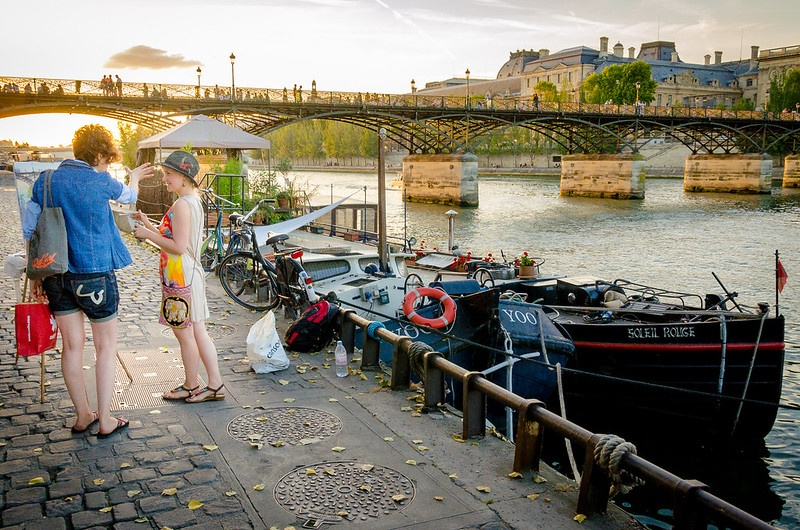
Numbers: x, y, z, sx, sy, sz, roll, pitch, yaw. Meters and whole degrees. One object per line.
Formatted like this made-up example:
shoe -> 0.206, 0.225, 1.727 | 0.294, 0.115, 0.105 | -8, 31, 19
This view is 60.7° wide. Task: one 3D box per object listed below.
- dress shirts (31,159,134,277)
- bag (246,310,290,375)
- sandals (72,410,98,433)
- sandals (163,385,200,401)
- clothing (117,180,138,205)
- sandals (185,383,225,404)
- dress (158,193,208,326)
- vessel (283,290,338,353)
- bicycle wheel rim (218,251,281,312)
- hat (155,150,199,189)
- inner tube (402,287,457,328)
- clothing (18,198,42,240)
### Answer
dress shirts -> -3.056, -0.502, 6.666 | 1.203, 0.950, 0.607 | -5, 11, -19
bag -> -1.710, 0.999, 8.715 | 0.651, 0.676, 0.518 | -8, 12, -27
sandals -> -3.132, 1.545, 6.754 | 0.113, 0.074, 0.290 | 9, 19, 4
sandals -> -2.412, 1.375, 7.426 | 0.336, 0.108, 0.174 | 7, 5, -3
clothing -> -2.642, -0.701, 6.577 | 0.219, 0.121, 0.280 | -2, 16, -29
sandals -> -2.123, 1.389, 7.368 | 0.386, 0.145, 0.169 | 2, 2, -18
dress -> -2.265, -0.044, 6.978 | 0.523, 1.327, 0.269 | -6, 13, -18
vessel -> -1.173, 0.764, 9.013 | 0.822, 0.752, 0.551 | -1, -29, 8
bicycle wheel rim -> -2.477, 0.063, 11.239 | 1.076, 1.025, 0.114 | -3, 43, -5
hat -> -2.267, -0.988, 6.943 | 0.361, 0.363, 0.251 | -6, 12, -17
inner tube -> 0.443, 0.622, 9.774 | 0.803, 0.566, 0.615 | -4, 12, -10
clothing -> -3.490, -0.424, 6.420 | 0.165, 0.394, 0.373 | -11, 15, -36
